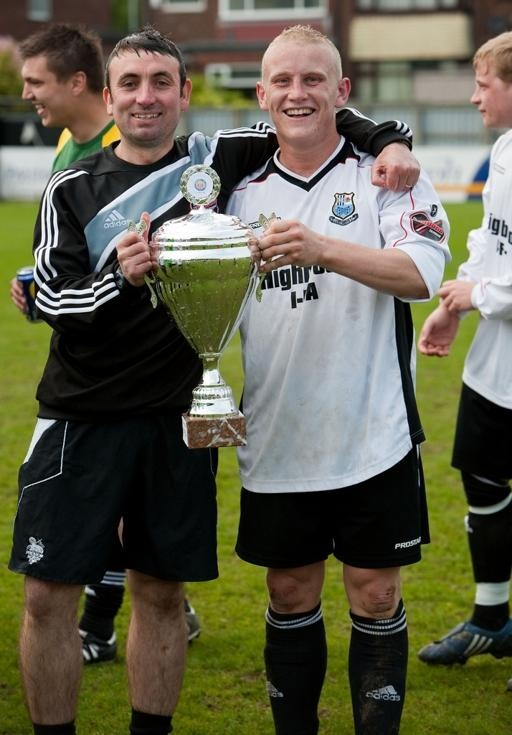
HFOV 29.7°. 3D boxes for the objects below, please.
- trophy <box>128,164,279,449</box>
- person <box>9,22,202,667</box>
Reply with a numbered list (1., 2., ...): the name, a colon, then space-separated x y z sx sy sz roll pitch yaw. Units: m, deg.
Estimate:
1. trophy: -0.139 -0.158 2.520 0.419 0.714 0.279 -4 3 -16
2. person: -0.738 -0.084 3.931 0.877 2.337 1.032 27 33 37
